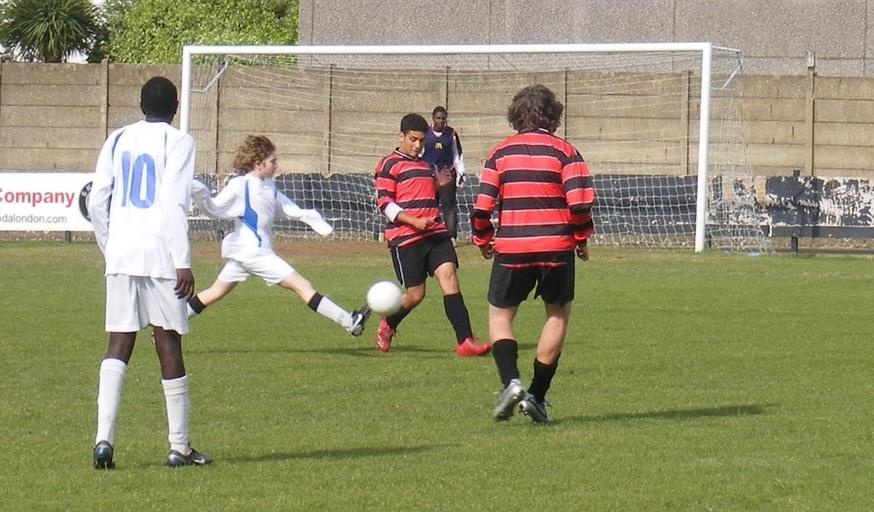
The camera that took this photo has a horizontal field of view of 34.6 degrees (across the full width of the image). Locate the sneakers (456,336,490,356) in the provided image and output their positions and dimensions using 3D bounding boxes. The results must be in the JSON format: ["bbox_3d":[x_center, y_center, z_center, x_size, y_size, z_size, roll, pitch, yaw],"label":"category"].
[{"bbox_3d":[0.624,1.526,23.499,0.657,0.273,0.227,-4,2,3],"label":"sneakers"}]

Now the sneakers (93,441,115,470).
[{"bbox_3d":[-4.886,2.899,20.550,0.308,0.423,0.169,2,2,-12],"label":"sneakers"}]

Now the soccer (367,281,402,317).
[{"bbox_3d":[-0.917,0.691,22.942,0.589,0.520,0.528,-4,-32,-9],"label":"soccer"}]

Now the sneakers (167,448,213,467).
[{"bbox_3d":[-3.668,2.981,20.752,0.716,0.276,0.246,-1,0,-14],"label":"sneakers"}]

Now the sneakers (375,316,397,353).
[{"bbox_3d":[-0.863,1.344,23.768,0.240,0.654,0.306,10,-11,-44],"label":"sneakers"}]
